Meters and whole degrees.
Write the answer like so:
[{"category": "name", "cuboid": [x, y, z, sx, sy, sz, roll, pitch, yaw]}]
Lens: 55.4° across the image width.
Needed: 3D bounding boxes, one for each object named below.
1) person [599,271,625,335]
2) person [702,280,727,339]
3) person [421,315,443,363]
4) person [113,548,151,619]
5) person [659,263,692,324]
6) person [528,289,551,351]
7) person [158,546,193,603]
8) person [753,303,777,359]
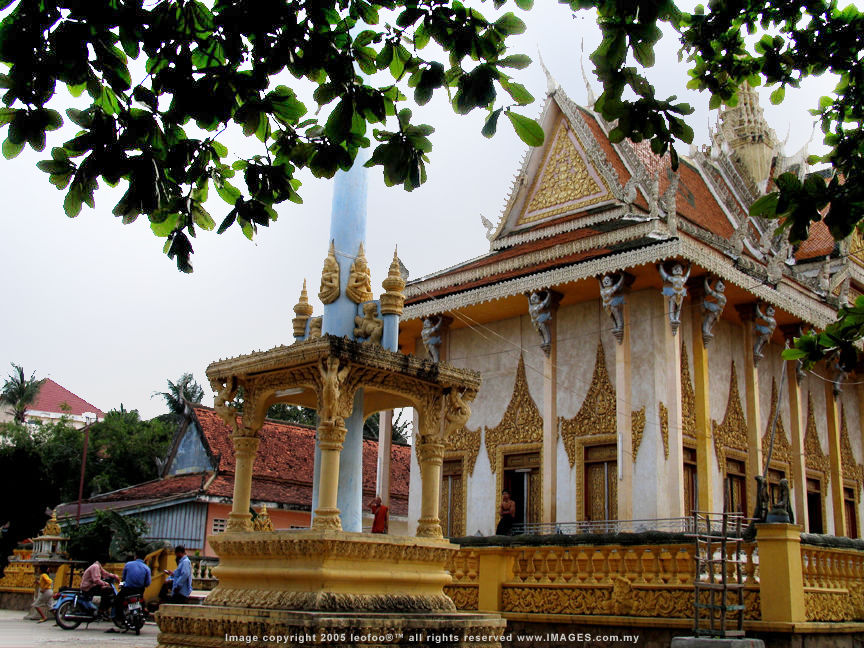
[{"category": "person", "cuboid": [2.957, -0.313, 13.409, 0.409, 0.935, 0.605, -2, -22, 6]}, {"category": "person", "cuboid": [4.662, -0.286, 13.629, 0.439, 0.985, 0.680, -6, -24, 18]}, {"category": "person", "cuboid": [0.002, 0.278, 15.827, 0.373, 0.725, 0.739, 1, -23, 0]}, {"category": "person", "cuboid": [-4.710, 4.196, 12.999, 0.516, 0.662, 1.054, 7, -37, -14]}, {"category": "person", "cuboid": [3.883, -0.421, 13.068, 0.442, 0.943, 0.898, -6, -24, 17]}, {"category": "person", "cuboid": [1.904, -0.057, 14.352, 0.416, 0.900, 0.680, -2, -23, 7]}, {"category": "person", "cuboid": [-3.687, 3.824, 11.885, 0.369, 1.243, 0.417, 7, -5, -16]}, {"category": "person", "cuboid": [5.990, 0.104, 14.889, 0.440, 0.913, 1.056, -8, -25, 22]}]
